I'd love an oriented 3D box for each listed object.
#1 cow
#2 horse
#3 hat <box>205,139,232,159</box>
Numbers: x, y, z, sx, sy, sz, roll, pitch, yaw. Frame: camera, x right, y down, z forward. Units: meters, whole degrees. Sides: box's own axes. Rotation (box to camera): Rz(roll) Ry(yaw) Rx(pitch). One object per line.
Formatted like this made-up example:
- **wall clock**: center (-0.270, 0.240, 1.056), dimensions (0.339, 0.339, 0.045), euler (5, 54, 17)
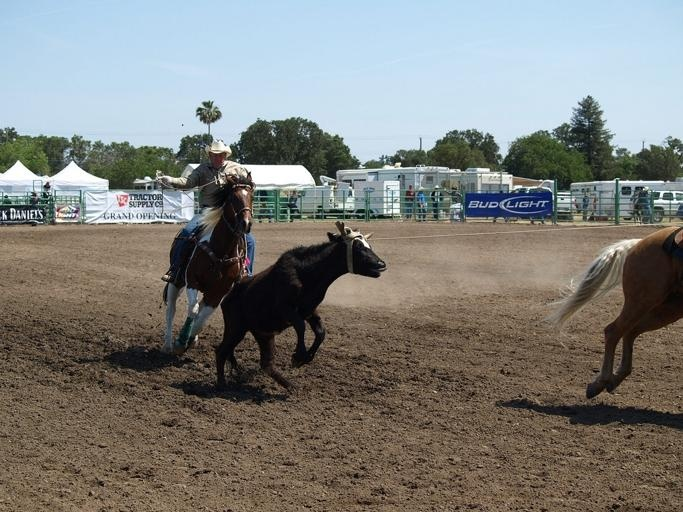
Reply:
- **cow**: center (-0.576, 0.572, 9.839), dimensions (1.910, 2.122, 0.724), euler (6, 14, 18)
- **horse**: center (-1.904, 0.281, 11.287), dimensions (0.883, 2.259, 3.277), euler (14, -14, -20)
- **hat**: center (-1.660, -1.428, 10.849), dimensions (0.317, 0.235, 0.525), euler (-1, 14, -10)
